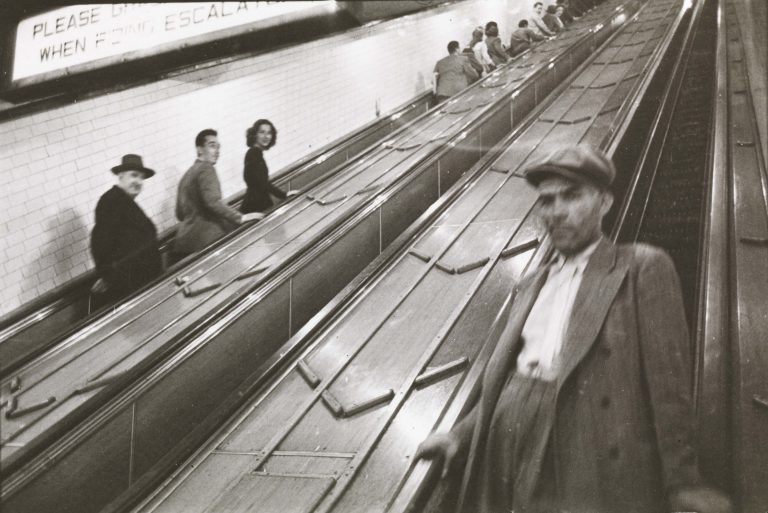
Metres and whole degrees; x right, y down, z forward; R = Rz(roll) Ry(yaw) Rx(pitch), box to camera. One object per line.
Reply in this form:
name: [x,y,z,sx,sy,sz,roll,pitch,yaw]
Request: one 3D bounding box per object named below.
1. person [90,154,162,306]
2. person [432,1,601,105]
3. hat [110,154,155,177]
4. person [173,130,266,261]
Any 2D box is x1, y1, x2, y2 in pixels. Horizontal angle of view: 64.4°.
person: [-1.865,-0.197,4.319,0.478,0.666,0.876,-16,28,-9]
person: [0.873,-1.694,5.224,0.931,0.537,0.421,-7,28,8]
hat: [-1.888,-0.686,4.569,0.184,0.080,0.208,-4,-8,2]
person: [-1.391,-0.493,4.564,0.764,0.698,0.605,-23,29,-21]
